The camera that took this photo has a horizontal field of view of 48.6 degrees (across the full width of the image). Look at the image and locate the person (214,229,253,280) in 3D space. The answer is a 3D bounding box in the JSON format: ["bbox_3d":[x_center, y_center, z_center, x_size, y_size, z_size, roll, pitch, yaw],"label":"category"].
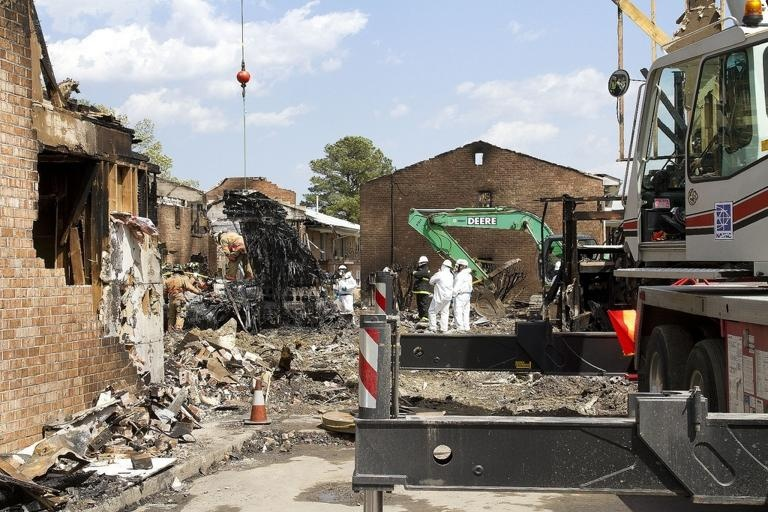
[{"bbox_3d":[-4.088,-0.027,23.474,0.910,1.408,0.860,-10,-2,17],"label":"person"}]

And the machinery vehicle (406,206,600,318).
[{"bbox_3d":[4.092,0.185,28.157,6.582,3.801,1.963,1,16,13],"label":"machinery vehicle"}]
